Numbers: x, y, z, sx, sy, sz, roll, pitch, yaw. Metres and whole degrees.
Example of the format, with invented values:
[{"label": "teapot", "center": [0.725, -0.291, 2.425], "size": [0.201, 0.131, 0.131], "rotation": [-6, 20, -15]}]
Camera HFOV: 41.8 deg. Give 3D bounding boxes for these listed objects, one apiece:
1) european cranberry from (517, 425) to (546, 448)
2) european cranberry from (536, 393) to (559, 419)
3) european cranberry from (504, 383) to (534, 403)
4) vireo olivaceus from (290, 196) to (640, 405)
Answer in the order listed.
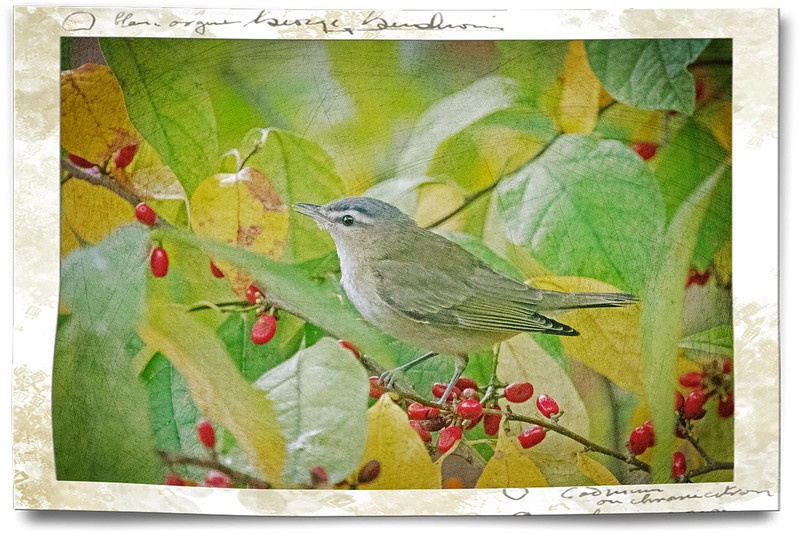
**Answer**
[{"label": "european cranberry", "center": [0.330, 0.419, 2.577], "size": [0.084, 0.038, 0.041], "rotation": [-27, -45, -8]}, {"label": "european cranberry", "center": [0.367, 0.344, 2.574], "size": [0.045, 0.063, 0.035], "rotation": [-50, -5, 16]}, {"label": "european cranberry", "center": [0.294, 0.310, 2.571], "size": [0.073, 0.038, 0.040], "rotation": [-1, -37, -6]}, {"label": "vireo olivaceus", "center": [0.097, 0.031, 2.762], "size": [0.994, 0.525, 0.312], "rotation": [1, -3, 5]}]
